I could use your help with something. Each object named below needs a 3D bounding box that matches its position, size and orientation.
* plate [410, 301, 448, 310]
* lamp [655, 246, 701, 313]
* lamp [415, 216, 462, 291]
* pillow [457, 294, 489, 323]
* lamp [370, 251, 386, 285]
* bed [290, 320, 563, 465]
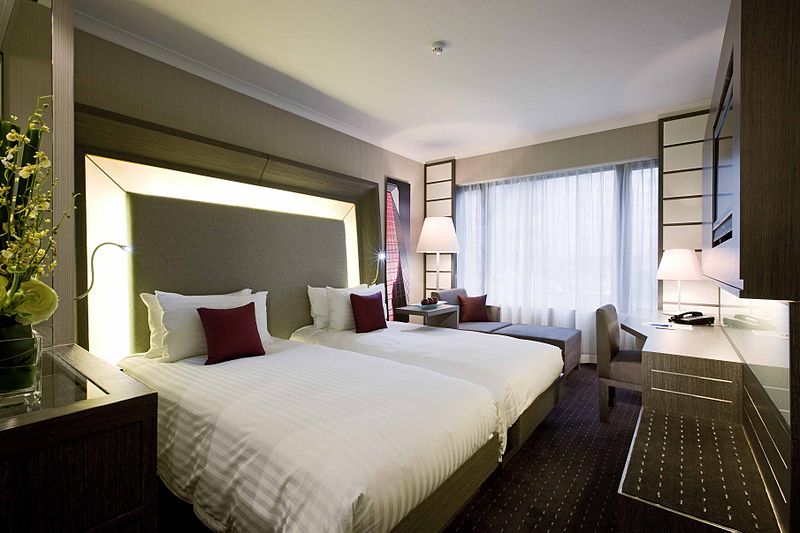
[{"bbox_3d":[0.316,0.403,5.339,0.431,0.065,0.387,-2,0,-14],"label":"plate"},{"bbox_3d":[2.653,0.132,4.919,0.366,0.603,0.413,-1,1,30],"label":"lamp"},{"bbox_3d":[0.461,-0.159,6.341,0.482,0.910,0.982,-2,1,3],"label":"lamp"},{"bbox_3d":[0.840,0.499,6.043,0.280,0.283,0.104,2,-21,-1],"label":"pillow"},{"bbox_3d":[-0.257,0.016,5.681,0.173,0.362,0.085,-2,1,-4],"label":"lamp"},{"bbox_3d":[0.215,0.816,4.048,1.518,0.385,0.964,2,3,31],"label":"bed"}]
